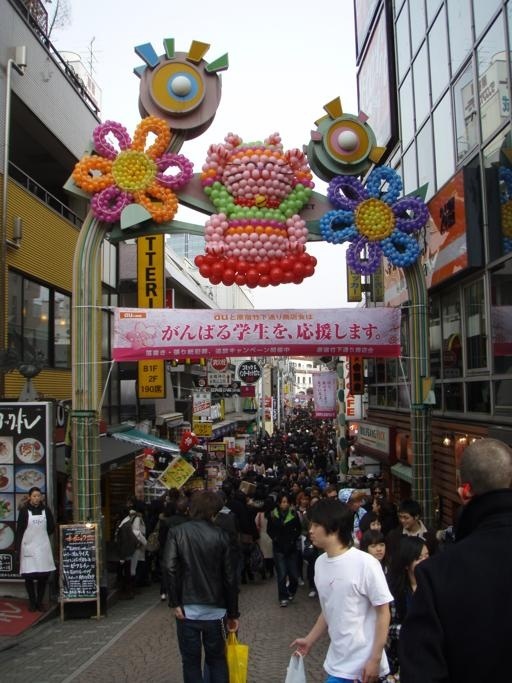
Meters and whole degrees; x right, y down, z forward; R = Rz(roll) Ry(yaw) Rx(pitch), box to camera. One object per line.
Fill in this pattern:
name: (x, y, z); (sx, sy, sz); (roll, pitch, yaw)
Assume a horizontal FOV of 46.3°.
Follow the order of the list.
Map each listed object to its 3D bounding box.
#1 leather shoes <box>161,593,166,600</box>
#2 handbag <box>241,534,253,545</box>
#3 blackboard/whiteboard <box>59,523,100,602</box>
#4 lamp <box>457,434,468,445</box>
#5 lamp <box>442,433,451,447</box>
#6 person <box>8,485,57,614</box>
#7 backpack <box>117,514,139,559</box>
leather shoes: (-1.517, 4.136, 9.754); (0.075, 0.080, 0.207); (0, -44, 1)
handbag: (-0.166, 3.512, 10.707); (0.160, 0.204, 0.056); (-25, 12, -16)
blackboard/whiteboard: (-2.604, 3.257, 8.812); (0.558, 1.103, 0.354); (-1, -9, -16)
lamp: (3.660, 1.713, 10.561); (0.131, 0.212, 0.230); (9, -15, -19)
lamp: (3.718, 1.932, 11.625); (0.161, 0.172, 0.153); (0, -13, -1)
person: (-3.140, 2.948, 8.512); (0.500, 1.703, 0.325); (0, -9, -22)
backpack: (-2.194, 3.329, 10.254); (0.300, 0.658, 0.479); (16, -42, -22)
